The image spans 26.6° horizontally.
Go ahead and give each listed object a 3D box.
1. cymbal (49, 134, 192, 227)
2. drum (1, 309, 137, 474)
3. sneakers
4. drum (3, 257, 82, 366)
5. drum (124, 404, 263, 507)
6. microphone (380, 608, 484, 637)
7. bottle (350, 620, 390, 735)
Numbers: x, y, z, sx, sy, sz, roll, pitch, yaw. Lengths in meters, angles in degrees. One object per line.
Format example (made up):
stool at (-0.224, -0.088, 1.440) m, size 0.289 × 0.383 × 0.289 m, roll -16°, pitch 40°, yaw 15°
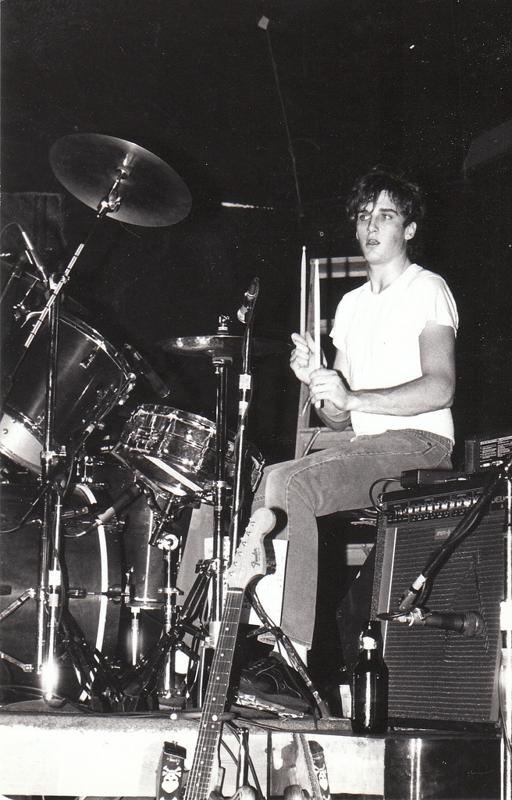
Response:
cymbal at (-0.587, -0.932, 4.651) m, size 0.595 × 0.174 × 0.646 m, roll 5°, pitch -8°, yaw -5°
drum at (-0.773, -0.018, 4.297) m, size 0.420 × 0.477 × 0.462 m, roll 34°, pitch -13°, yaw 13°
sneakers at (0.053, 0.835, 3.181) m, size 0.229 × 0.159 × 0.268 m, roll 5°, pitch -8°, yaw 0°
drum at (-0.862, -0.329, 4.188) m, size 0.326 × 0.373 × 0.128 m, roll -3°, pitch -11°, yaw 44°
drum at (-0.309, 0.143, 4.527) m, size 0.514 × 0.182 × 0.486 m, roll 14°, pitch 1°, yaw 0°
microphone at (0.467, 0.568, 2.885) m, size 0.276 × 0.082 × 0.095 m, roll 2°, pitch -41°, yaw 10°
bottle at (0.312, 0.746, 2.935) m, size 0.096 × 0.276 × 0.342 m, roll 4°, pitch -8°, yaw 6°
